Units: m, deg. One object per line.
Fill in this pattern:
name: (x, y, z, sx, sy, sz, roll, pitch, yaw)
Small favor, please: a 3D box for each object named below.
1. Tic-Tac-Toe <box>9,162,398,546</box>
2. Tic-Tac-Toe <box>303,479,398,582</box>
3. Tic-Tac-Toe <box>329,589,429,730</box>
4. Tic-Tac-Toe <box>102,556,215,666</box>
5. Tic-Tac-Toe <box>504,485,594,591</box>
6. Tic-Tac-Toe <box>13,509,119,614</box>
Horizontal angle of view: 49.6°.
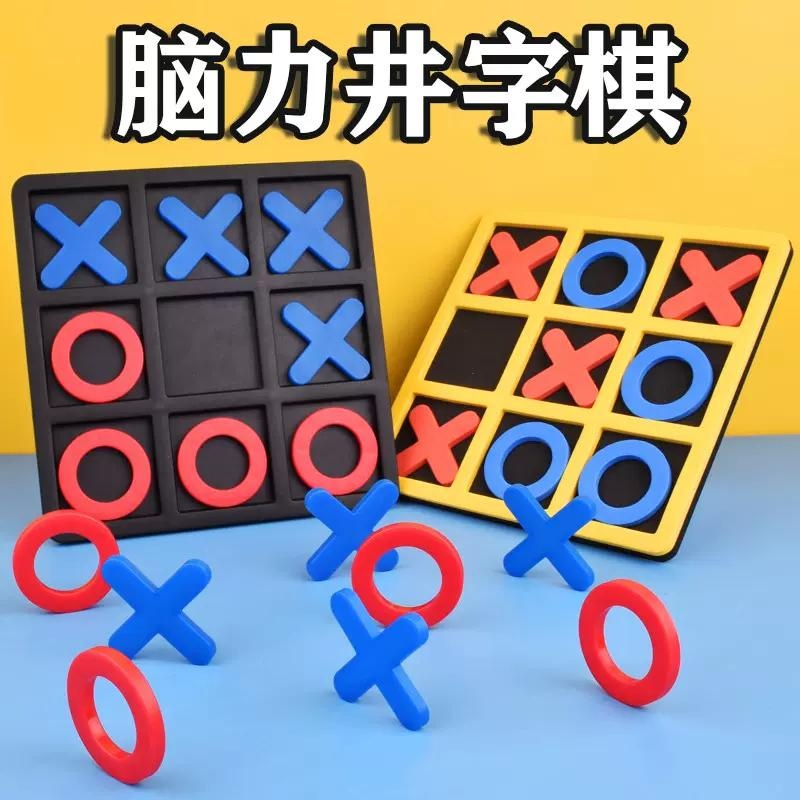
Tic-Tac-Toe: (-0.259, -0.055, 1.148, 0.490, 0.475, 0.032, -7, -4, -19)
Tic-Tac-Toe: (-0.059, 0.152, 0.990, 0.108, 0.014, 0.104, -6, -82, -3)
Tic-Tac-Toe: (-0.017, 0.220, 0.727, 0.081, 0.113, 0.107, -2, -45, 1)
Tic-Tac-Toe: (-0.221, 0.193, 0.798, 0.109, 0.016, 0.099, 0, -82, 15)
Tic-Tac-Toe: (0.171, 0.160, 0.986, 0.111, 0.104, 0.015, -4, 1, 43)
Tic-Tac-Toe: (-0.356, 0.172, 0.921, 0.101, 0.105, 0.053, 12, -47, -13)
